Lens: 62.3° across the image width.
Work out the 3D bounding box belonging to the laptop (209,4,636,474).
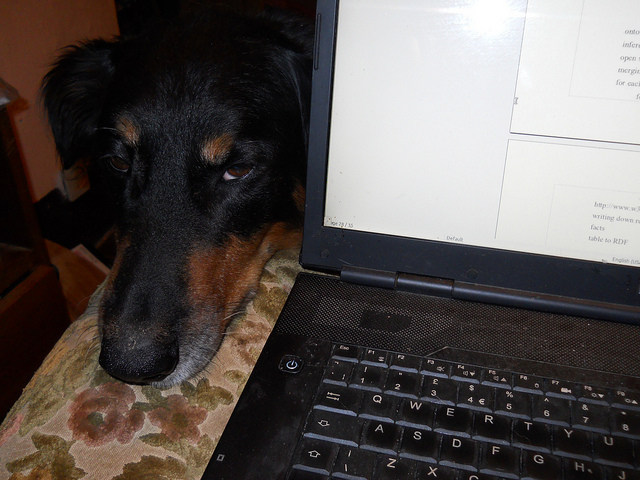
[{"bbox_3d":[0.210,0.020,0.776,0.559,0.591,0.401,12,33,21],"label":"laptop"}]
